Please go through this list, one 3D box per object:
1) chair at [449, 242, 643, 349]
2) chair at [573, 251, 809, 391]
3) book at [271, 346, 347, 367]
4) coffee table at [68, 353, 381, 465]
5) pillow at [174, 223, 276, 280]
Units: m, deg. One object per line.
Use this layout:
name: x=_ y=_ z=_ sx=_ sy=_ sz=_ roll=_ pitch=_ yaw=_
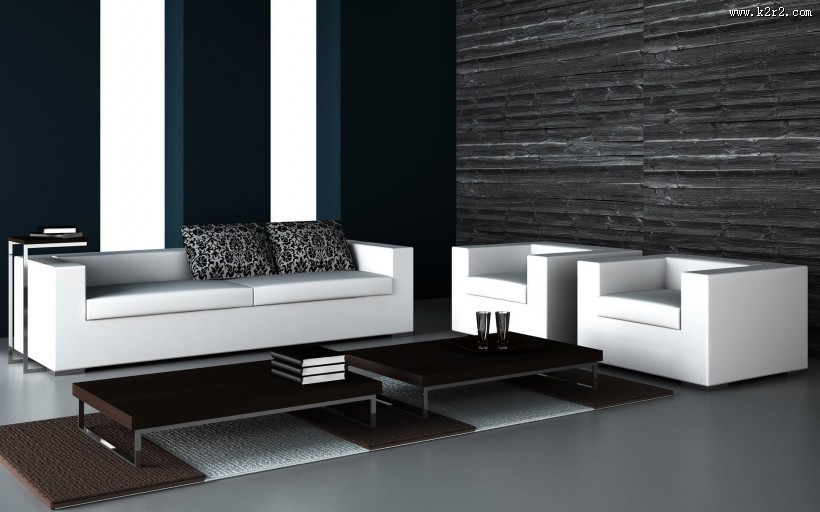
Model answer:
chair: x=1.346 y=0.344 z=5.668 sx=1.221 sy=0.724 sz=1.278 roll=-1 pitch=2 yaw=-37
chair: x=2.429 y=0.493 z=4.968 sx=1.322 sy=0.713 sz=1.314 roll=-3 pitch=5 yaw=-26
book: x=-0.634 y=0.627 z=3.500 sx=0.219 sy=0.051 sz=0.294 roll=2 pitch=-3 yaw=-37
coffee table: x=-1.132 y=0.890 z=3.474 sx=1.678 sy=0.338 sz=0.821 roll=-2 pitch=7 yaw=-23
pillow: x=-1.788 y=-0.005 z=5.454 sx=0.801 sy=0.542 sz=0.204 roll=-9 pitch=-15 yaw=-35
